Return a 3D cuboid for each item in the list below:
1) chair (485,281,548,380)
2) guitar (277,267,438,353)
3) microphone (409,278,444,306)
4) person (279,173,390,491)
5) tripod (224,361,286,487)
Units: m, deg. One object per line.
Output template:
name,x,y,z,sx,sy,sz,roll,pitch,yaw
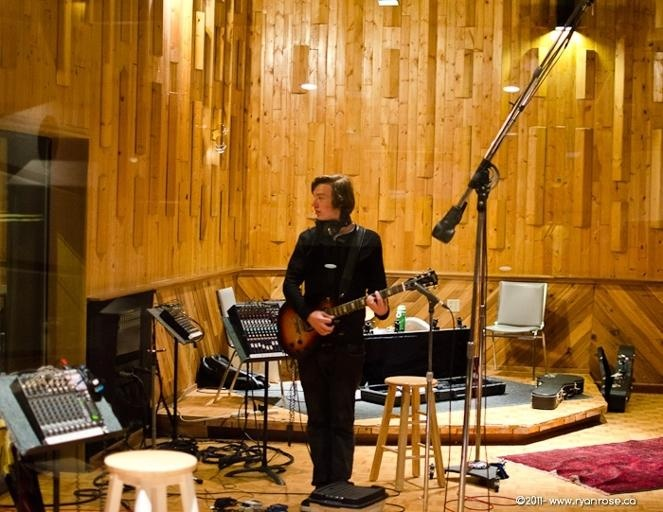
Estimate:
chair,1.506,0.608,5.252,0.466,0.809,1.156,0,-1,19
guitar,0.145,0.334,3.871,1.065,0.429,0.132,-22,-13,22
microphone,0.555,0.203,3.771,0.262,0.107,0.047,27,11,-3
person,0.014,0.436,3.838,0.596,1.841,0.208,0,0,-5
tripod,-0.459,1.092,4.503,0.423,0.777,0.563,0,0,12
